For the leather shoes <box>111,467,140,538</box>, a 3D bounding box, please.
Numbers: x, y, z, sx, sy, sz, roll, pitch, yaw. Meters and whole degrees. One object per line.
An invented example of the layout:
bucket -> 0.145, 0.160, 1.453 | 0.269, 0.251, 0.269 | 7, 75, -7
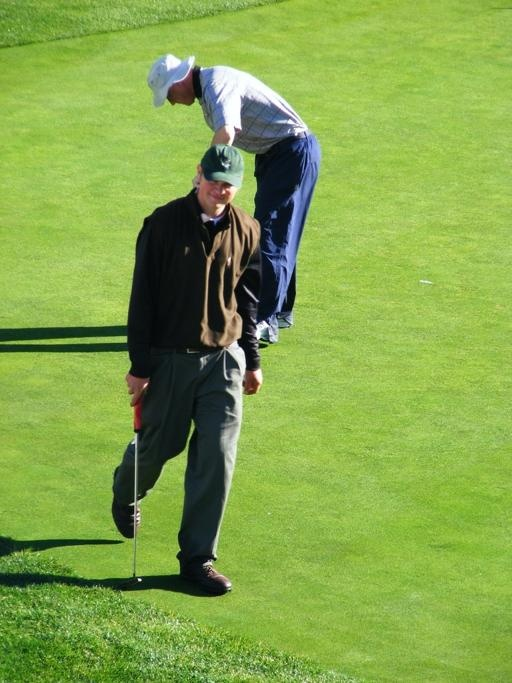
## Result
leather shoes -> -0.537, 0.685, 5.708 | 0.089, 0.316, 0.097 | 1, 8, 11

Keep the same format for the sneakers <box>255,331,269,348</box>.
sneakers -> 0.031, -0.014, 7.311 | 0.045, 0.056, 0.177 | -18, -11, 17

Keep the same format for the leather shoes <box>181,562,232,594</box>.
leather shoes -> -0.198, 0.931, 5.441 | 0.205, 0.100, 0.087 | 9, 13, 38

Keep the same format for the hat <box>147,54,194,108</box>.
hat -> -0.438, -1.332, 7.020 | 0.174, 0.263, 0.370 | 4, 8, -25

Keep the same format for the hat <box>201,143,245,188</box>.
hat -> -0.124, -0.699, 5.337 | 0.168, 0.145, 0.246 | 10, 21, -13

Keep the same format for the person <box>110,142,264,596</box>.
person -> -0.258, 0.145, 5.520 | 0.546, 1.599, 0.529 | 7, 7, 0
